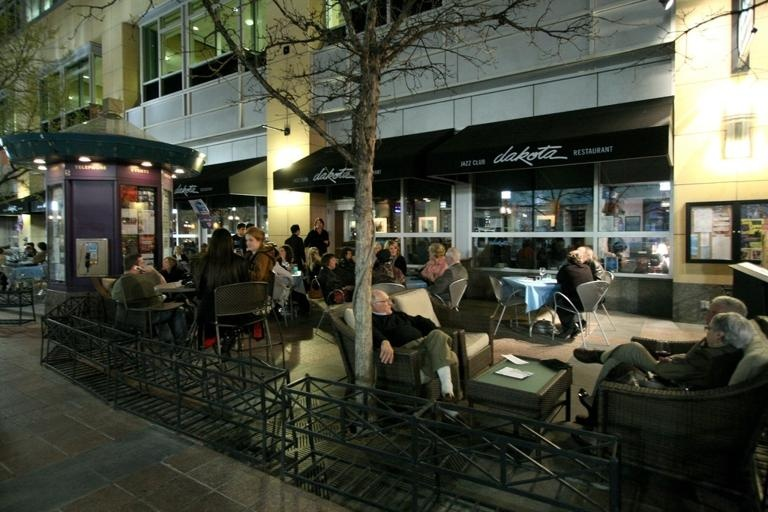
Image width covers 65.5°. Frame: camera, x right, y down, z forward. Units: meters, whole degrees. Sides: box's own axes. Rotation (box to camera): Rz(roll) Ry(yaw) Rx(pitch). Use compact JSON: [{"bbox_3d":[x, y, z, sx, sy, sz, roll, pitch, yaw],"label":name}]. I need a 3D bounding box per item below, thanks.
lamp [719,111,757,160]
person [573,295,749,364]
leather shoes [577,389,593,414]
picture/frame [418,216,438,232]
[{"bbox_3d":[6.993,-2.406,11.976,0.825,0.894,0.821,2,1,35],"label":"lamp"},{"bbox_3d":[3.932,1.070,8.116,2.455,1.045,1.036,-7,1,37],"label":"person"},{"bbox_3d":[2.713,1.972,7.999,0.151,0.173,0.461,-9,16,10],"label":"leather shoes"},{"bbox_3d":[1.210,-0.876,15.851,0.452,0.341,0.035,6,11,32],"label":"picture/frame"}]
